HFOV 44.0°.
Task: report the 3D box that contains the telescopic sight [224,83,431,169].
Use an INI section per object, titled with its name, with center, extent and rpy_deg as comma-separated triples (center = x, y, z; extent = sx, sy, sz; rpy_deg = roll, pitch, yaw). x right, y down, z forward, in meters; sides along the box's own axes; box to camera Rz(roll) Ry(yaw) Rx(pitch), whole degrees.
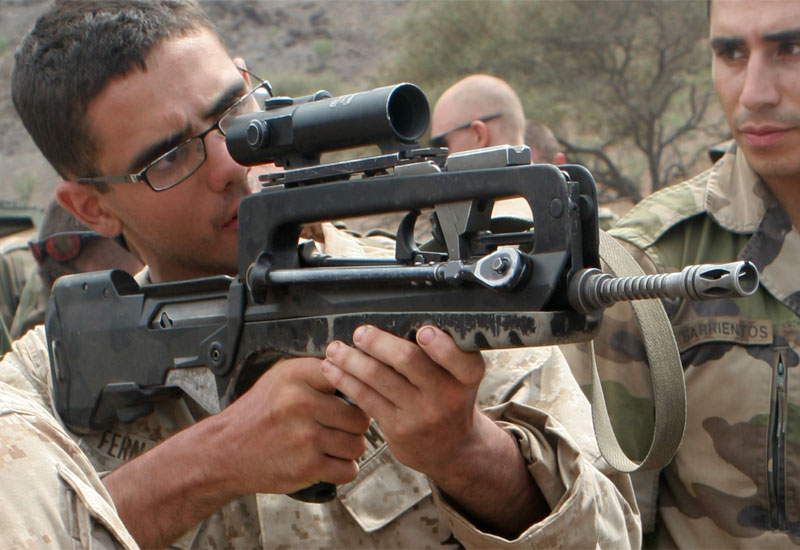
[telescopic sight]
center = -0.314, -0.545, 3.775
extent = 0.817, 0.240, 0.323
rpy_deg = -3, 96, 38
